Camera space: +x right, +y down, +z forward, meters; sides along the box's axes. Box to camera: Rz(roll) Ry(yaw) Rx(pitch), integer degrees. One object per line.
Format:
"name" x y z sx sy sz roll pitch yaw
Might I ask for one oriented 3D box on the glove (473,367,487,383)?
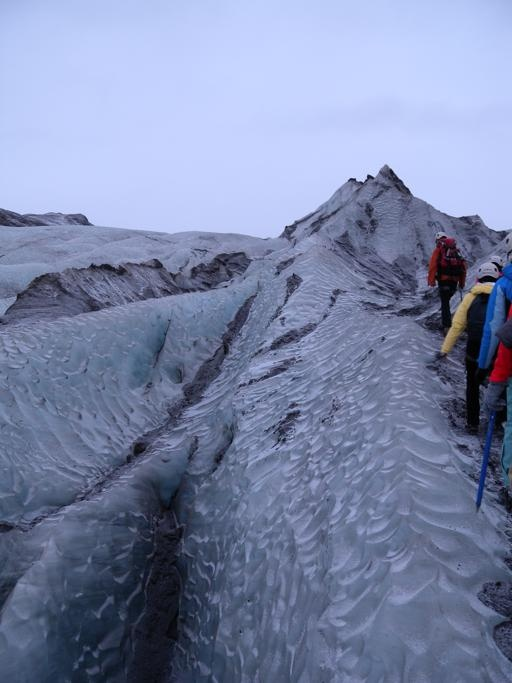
"glove" 1.148 0.172 3.044 0.082 0.072 0.082 5 -26 16
